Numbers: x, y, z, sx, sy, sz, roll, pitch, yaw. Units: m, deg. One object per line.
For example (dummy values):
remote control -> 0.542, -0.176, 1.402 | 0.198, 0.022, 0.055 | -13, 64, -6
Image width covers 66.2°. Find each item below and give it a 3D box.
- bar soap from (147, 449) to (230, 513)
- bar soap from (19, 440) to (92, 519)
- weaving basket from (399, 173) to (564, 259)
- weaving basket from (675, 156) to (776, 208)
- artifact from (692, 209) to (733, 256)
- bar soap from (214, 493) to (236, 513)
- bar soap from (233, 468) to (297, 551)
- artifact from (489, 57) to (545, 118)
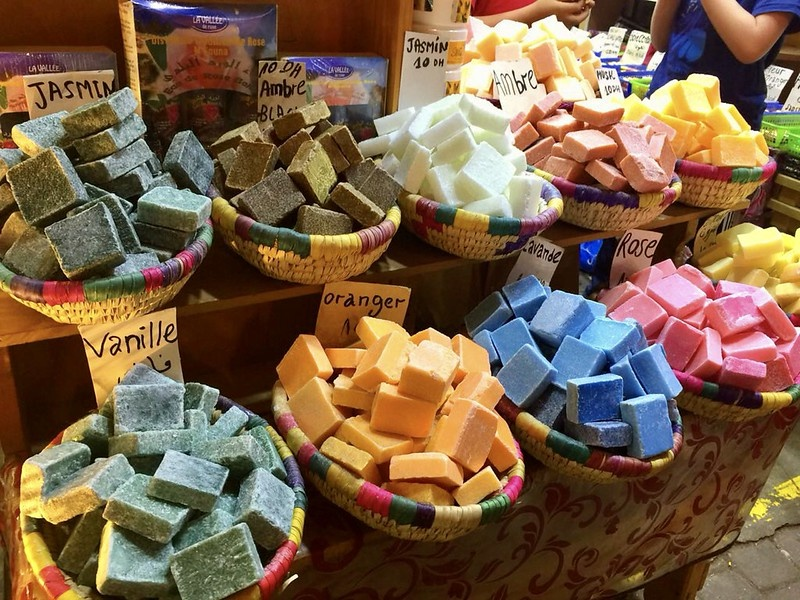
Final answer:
bar soap -> -0.463, 0.400, 1.352 | 0.131, 0.041, 0.146 | 25, 20, -9
bar soap -> -0.757, 0.418, 1.392 | 0.065, 0.126, 0.137 | -9, 3, 21
weaving basket -> 0.213, -0.216, 1.843 | 0.323, 0.119, 0.335 | 31, 34, 22
weaving basket -> 1.299, -0.492, 2.553 | 0.408, 0.186, 0.430 | 17, 21, 32
artifact -> 1.365, -0.295, 2.733 | 0.192, 0.200, 0.048 | -30, 43, -20
bar soap -> -0.403, 0.477, 1.422 | 0.034, 0.009, 0.039 | 18, 30, -16
bar soap -> -0.283, 0.499, 1.410 | 0.144, 0.089, 0.197 | 31, 26, -25
artifact -> 0.457, -0.868, 2.554 | 0.279, 0.314, 0.078 | -17, 9, -33
